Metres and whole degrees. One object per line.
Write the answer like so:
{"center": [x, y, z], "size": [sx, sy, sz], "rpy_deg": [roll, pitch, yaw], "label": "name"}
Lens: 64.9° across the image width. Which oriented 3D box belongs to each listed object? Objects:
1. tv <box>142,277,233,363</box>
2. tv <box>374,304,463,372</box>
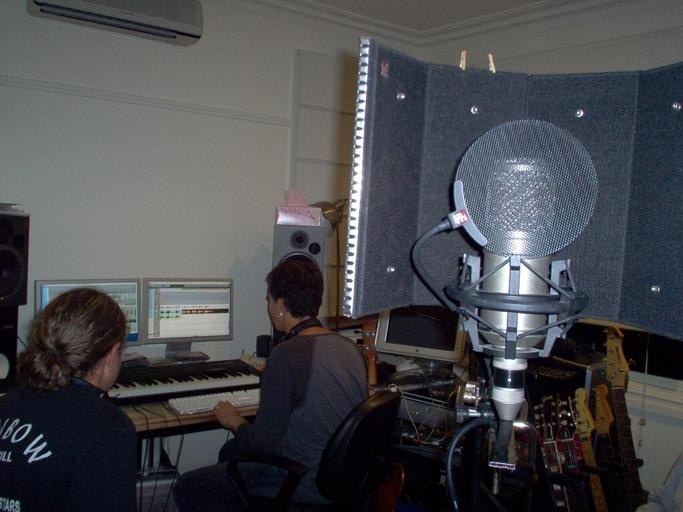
{"center": [-0.976, 0.382, 3.358], "size": [0.488, 0.459, 0.207], "rpy_deg": [3, -7, -28], "label": "tv"}
{"center": [0.449, 0.466, 3.110], "size": [0.533, 0.465, 0.286], "rpy_deg": [2, -18, 22], "label": "tv"}
